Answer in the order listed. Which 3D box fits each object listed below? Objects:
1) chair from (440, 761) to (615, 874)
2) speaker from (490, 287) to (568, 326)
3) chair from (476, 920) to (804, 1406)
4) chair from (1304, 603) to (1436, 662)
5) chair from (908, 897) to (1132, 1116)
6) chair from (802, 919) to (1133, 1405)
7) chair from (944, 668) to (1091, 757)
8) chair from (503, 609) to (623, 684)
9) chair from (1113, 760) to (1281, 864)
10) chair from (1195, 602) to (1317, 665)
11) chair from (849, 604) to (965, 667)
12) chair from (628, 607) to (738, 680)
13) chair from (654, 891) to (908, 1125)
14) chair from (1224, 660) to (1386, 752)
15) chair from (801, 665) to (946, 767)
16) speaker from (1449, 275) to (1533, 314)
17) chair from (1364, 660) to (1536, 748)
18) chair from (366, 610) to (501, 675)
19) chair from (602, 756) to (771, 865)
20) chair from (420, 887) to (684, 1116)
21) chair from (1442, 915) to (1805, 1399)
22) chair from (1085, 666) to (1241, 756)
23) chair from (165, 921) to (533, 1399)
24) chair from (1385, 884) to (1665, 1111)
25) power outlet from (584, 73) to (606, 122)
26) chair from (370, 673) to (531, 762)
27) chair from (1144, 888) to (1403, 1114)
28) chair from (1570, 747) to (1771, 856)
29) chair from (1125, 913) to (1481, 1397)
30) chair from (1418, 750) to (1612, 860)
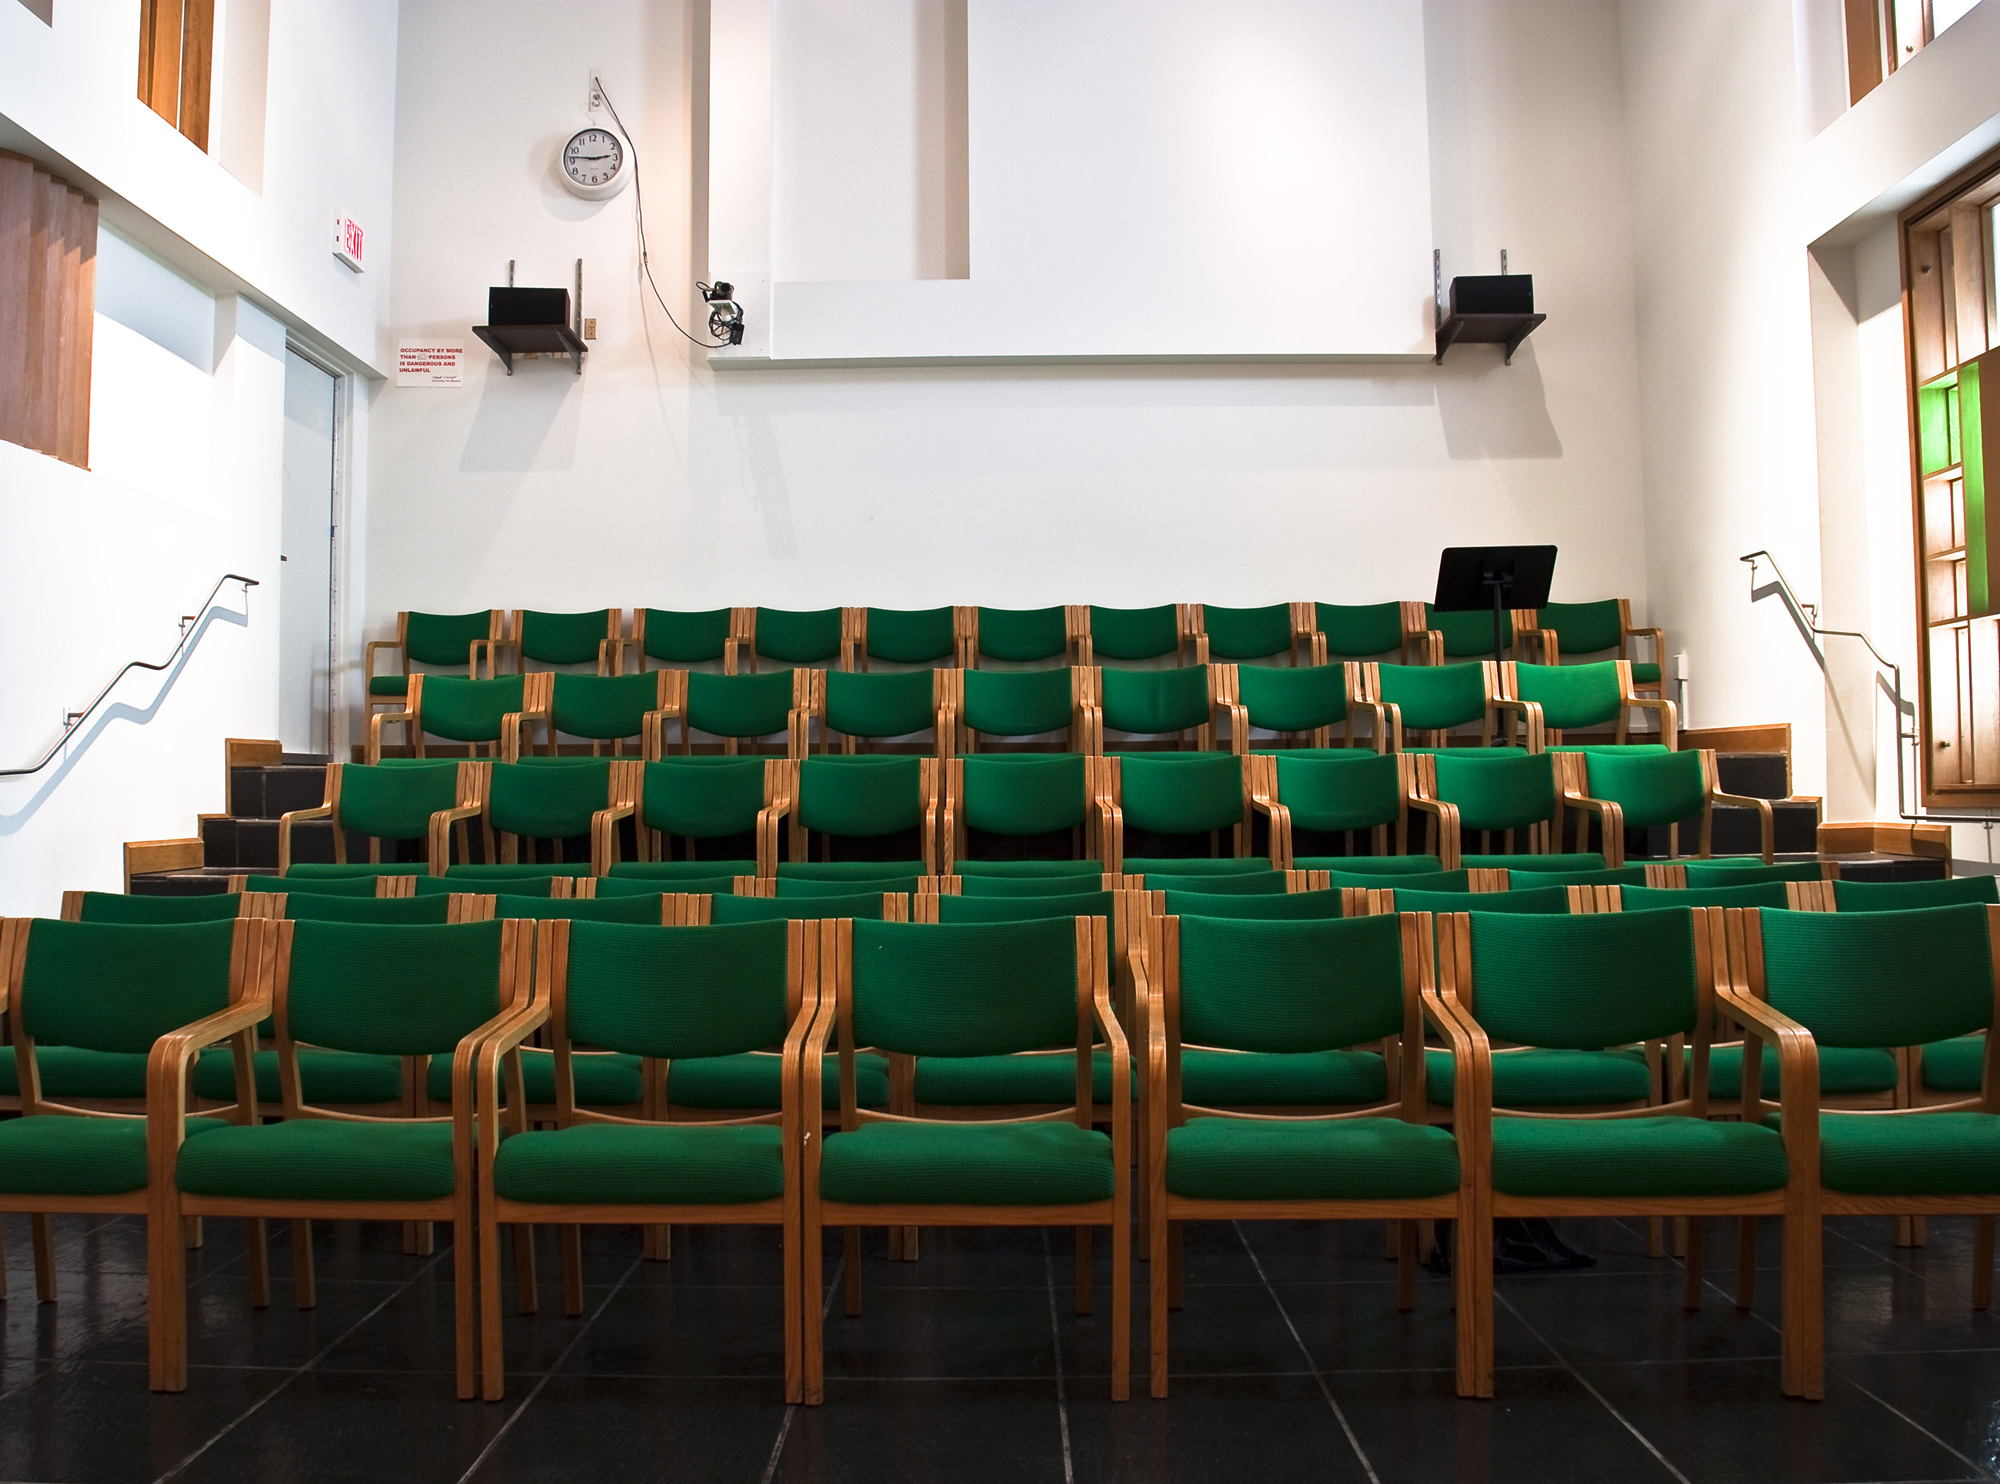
[{"bbox_3d":[-1.738,0.274,6.273,0.502,0.723,0.497,0,-8,4],"label":"chair"},{"bbox_3d":[-2.355,-2.176,8.318,0.374,0.188,0.132,-1,9,-1],"label":"speaker"},{"bbox_3d":[-0.831,1.011,4.165,0.899,1.432,0.936,0,-10,-1],"label":"chair"},{"bbox_3d":[1.850,-0.561,8.329,0.378,0.404,0.329,0,-7,1],"label":"chair"},{"bbox_3d":[0.085,0.651,4.208,0.503,0.761,0.497,-1,-8,5],"label":"chair"},{"bbox_3d":[-0.081,0.918,3.991,0.733,0.971,0.785,-1,9,-2],"label":"chair"},{"bbox_3d":[0.081,-0.129,7.365,0.442,0.461,0.413,0,-11,1],"label":"chair"},{"bbox_3d":[-2.215,-0.514,8.406,0.433,0.458,0.366,1,-7,-9],"label":"chair"},{"bbox_3d":[0.693,0.248,6.279,0.389,0.585,0.492,0,-6,-3],"label":"chair"},{"bbox_3d":[1.253,-0.458,8.350,0.384,0.407,0.334,0,-10,1],"label":"chair"},{"bbox_3d":[-0.465,-0.529,8.364,0.501,0.306,0.353,-1,9,-1],"label":"chair"},{"bbox_3d":[-1.614,-0.472,8.513,0.354,0.544,0.368,1,-5,-4],"label":"chair"},{"bbox_3d":[-0.570,0.665,4.623,0.419,0.855,0.563,0,-15,0],"label":"chair"},{"bbox_3d":[1.298,-0.148,7.312,0.514,0.546,0.428,-1,-7,0],"label":"chair"},{"bbox_3d":[-0.549,-0.135,7.390,0.518,0.549,0.433,0,-7,0],"label":"chair"},{"bbox_3d":[2.444,-2.239,8.369,0.245,0.169,0.249,1,4,3],"label":"speaker"},{"bbox_3d":[1.955,-0.146,7.321,0.540,0.559,0.459,0,-10,-5],"label":"chair"},{"bbox_3d":[-2.823,-0.519,8.480,0.472,0.503,0.348,0,-9,-3],"label":"chair"},{"bbox_3d":[-1.185,0.263,6.319,0.450,0.730,0.504,0,-6,4],"label":"chair"},{"bbox_3d":[-1.101,0.664,4.103,0.425,0.849,0.555,0,-6,2],"label":"chair"},{"bbox_3d":[1.440,0.898,3.971,0.940,1.044,0.958,2,-7,-20],"label":"chair"},{"bbox_3d":[0.702,-0.133,7.332,0.492,0.508,0.417,0,-9,-1],"label":"chair"},{"bbox_3d":[-1.536,0.949,3.999,0.801,1.052,0.811,2,-4,-23],"label":"chair"},{"bbox_3d":[1.335,0.654,4.447,0.556,0.893,0.558,0,-9,0],"label":"chair"},{"bbox_3d":[-2.154,-3.464,8.894,0.084,0.210,0.044,-1,8,-4],"label":"power outlet"},{"bbox_3d":[-2.452,-0.114,7.478,0.358,0.576,0.349,1,-3,3],"label":"chair"},{"bbox_3d":[0.672,0.671,4.249,0.474,0.773,0.514,0,-10,0],"label":"chair"},{"bbox_3d":[2.320,0.247,5.866,0.562,0.395,0.433,-2,4,-3],"label":"chair"},{"bbox_3d":[0.715,0.924,3.939,0.766,0.967,0.703,0,9,4],"label":"chair"},{"bbox_3d":[1.771,0.302,5.849,0.533,0.546,0.433,-2,-1,-3],"label":"chair"}]
